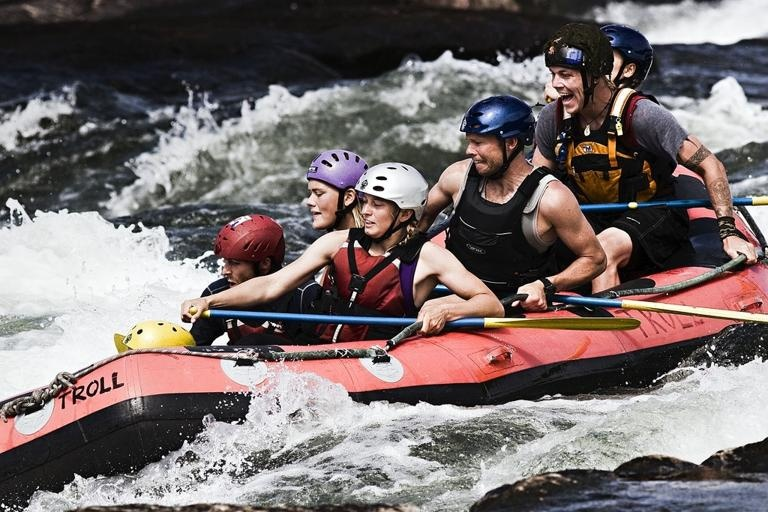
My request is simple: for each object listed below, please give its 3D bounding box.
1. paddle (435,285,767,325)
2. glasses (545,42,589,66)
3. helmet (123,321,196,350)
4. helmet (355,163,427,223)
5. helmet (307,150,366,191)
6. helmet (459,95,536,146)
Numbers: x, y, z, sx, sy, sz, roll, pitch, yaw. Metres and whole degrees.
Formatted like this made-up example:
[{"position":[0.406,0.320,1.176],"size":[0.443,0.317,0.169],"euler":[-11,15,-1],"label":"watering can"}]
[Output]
[{"position":[1.836,0.423,9.620],"size":[3.591,0.340,0.164],"euler":[0,56,2],"label":"paddle"},{"position":[1.620,-1.786,9.801],"size":[0.291,0.124,0.219],"euler":[8,-1,-3],"label":"glasses"},{"position":[-1.835,0.663,8.986],"size":[0.575,0.212,0.525],"euler":[4,14,-10],"label":"helmet"},{"position":[0.072,-0.619,9.092],"size":[0.470,0.370,0.330],"euler":[23,56,5],"label":"helmet"},{"position":[-0.421,-0.808,9.983],"size":[0.614,0.311,0.413],"euler":[-9,17,-32],"label":"helmet"},{"position":[0.984,-1.219,9.644],"size":[0.759,0.397,0.507],"euler":[-9,24,-14],"label":"helmet"}]
